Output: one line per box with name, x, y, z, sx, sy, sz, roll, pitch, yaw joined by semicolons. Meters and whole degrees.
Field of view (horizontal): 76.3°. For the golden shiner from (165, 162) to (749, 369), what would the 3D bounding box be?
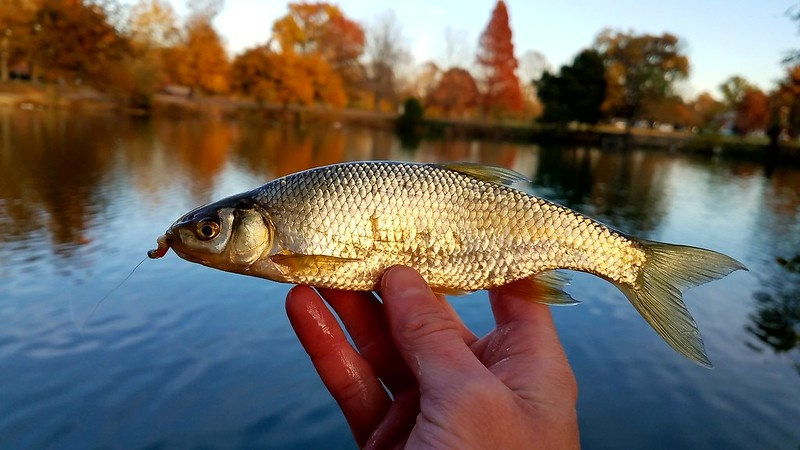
golden shiner;0.421;0.324;5.176;5.189;1.923;0.350;2;-12;0
